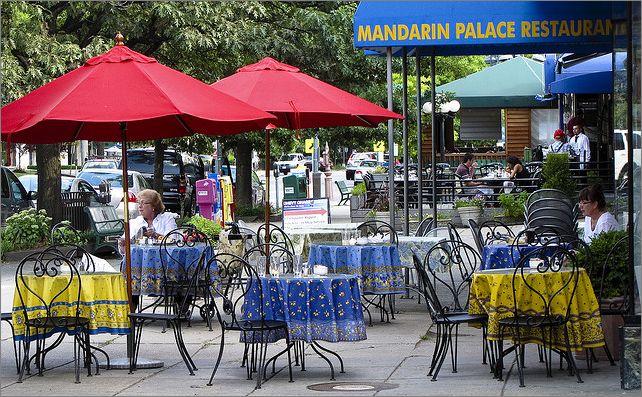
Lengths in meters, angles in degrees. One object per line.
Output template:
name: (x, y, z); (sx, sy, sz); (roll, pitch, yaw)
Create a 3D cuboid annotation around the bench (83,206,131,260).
bench: (-4.860, 0.758, 29.575); (0.773, 1.146, 1.891); (-1, 1, 5)

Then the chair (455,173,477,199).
chair: (3.914, -0.341, 34.252); (0.606, 0.850, 0.599); (-3, 0, 21)

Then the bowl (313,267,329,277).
bowl: (-0.008, 1.139, 19.884); (0.145, 0.132, 0.151); (0, -5, 0)

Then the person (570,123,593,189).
person: (6.920, -1.186, 33.613); (0.527, 1.460, 2.251); (2, 11, 11)

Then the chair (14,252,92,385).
chair: (-4.323, 1.727, 20.210); (1.215, 1.918, 2.045); (-2, 11, -14)

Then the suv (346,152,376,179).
suv: (2.220, -1.895, 75.133); (1.105, 1.096, 2.531); (1, 7, 6)

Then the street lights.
street lights: (3.943, -2.195, 38.350); (0.819, 1.807, 0.811); (19, -4, -6)

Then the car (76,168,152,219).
car: (-5.417, 0.003, 33.219); (1.329, 1.064, 2.982); (0, 4, 3)

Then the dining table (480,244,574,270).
dining table: (3.330, 1.052, 22.465); (0.884, 0.427, 0.937); (1, 2, 12)

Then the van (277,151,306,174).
van: (-1.922, -2.245, 80.168); (0.999, 0.937, 2.266); (-2, -3, 6)

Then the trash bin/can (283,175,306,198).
trash bin/can: (-0.780, -0.557, 37.349); (0.558, 0.815, 1.021); (-2, -1, 6)

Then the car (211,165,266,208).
car: (-2.581, -0.348, 39.448); (2.171, 1.204, 1.369); (-3, 4, -23)

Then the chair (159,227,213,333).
chair: (-2.440, 1.406, 22.470); (0.984, 1.810, 1.187); (-3, -1, 1)

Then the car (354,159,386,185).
car: (2.238, -1.425, 61.961); (1.099, 0.936, 2.398); (1, 9, 13)

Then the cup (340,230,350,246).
cup: (0.455, 0.692, 22.307); (0.192, 0.309, 0.199); (-1, 2, 0)

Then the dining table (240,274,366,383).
dining table: (-0.166, 1.937, 20.315); (1.900, 1.374, 1.906); (-3, 1, 8)

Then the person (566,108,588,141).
person: (7.176, -2.120, 35.489); (0.648, 0.901, 0.949); (1, -2, 8)

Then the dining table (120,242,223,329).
dining table: (-2.707, 1.438, 22.539); (1.376, 1.180, 1.444); (-2, -5, 26)

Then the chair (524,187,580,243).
chair: (4.441, 0.328, 24.281); (0.937, 1.138, 1.223); (1, -2, 9)

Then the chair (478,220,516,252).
chair: (3.490, 0.743, 25.077); (0.589, 0.932, 0.640); (1, -7, -11)

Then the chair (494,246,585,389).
chair: (3.364, 1.724, 19.528); (1.336, 2.014, 1.282); (1, 10, 0)

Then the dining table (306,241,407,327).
dining table: (0.698, 1.437, 22.446); (1.412, 1.147, 1.455); (-3, -1, 35)

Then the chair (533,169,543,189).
chair: (5.784, -0.517, 33.826); (0.179, 0.538, 0.359); (5, 1, -23)

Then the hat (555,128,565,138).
hat: (6.516, -1.761, 34.324); (0.220, 0.303, 0.282); (-8, 42, 3)

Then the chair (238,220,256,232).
chair: (-1.766, 0.653, 30.469); (0.515, 0.217, 0.382); (5, 3, -6)

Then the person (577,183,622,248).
person: (4.768, 0.374, 21.409); (0.687, 1.247, 1.220); (-3, 5, 1)

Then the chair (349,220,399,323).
chair: (0.905, 1.666, 23.390); (0.984, 1.188, 1.045); (-3, -8, 15)
